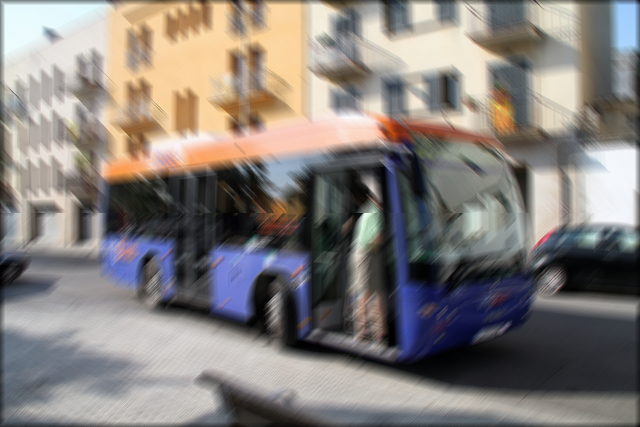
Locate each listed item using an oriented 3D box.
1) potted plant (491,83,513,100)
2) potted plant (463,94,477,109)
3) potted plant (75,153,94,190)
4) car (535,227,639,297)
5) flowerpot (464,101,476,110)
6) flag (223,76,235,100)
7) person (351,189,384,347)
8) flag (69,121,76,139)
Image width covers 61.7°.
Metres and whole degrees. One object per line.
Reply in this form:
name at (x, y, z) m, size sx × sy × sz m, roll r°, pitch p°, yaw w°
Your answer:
potted plant at (7.311, -4.784, 21.391) m, size 0.587 × 0.481 × 0.623 m, roll 4°, pitch -5°, yaw -25°
potted plant at (6.250, -4.639, 22.162) m, size 0.425 × 0.621 × 0.544 m, roll 0°, pitch -3°, yaw 20°
potted plant at (-17.298, -3.118, 39.557) m, size 0.926 × 2.858 × 2.059 m, roll 0°, pitch -2°, yaw -30°
car at (8.477, 1.448, 16.982) m, size 2.922 × 1.586 × 1.706 m, roll -3°, pitch -5°, yaw 34°
flowerpot at (6.275, -4.565, 22.180) m, size 0.351 × 0.377 × 0.608 m, roll -1°, pitch -2°, yaw -1°
flag at (-5.050, -7.013, 29.833) m, size 0.431 × 1.429 × 1.131 m, roll 0°, pitch -2°, yaw -36°
person at (0.974, 1.146, 10.706) m, size 0.722 × 2.979 × 0.479 m, roll -2°, pitch -2°, yaw 21°
flag at (-18.277, -6.272, 39.836) m, size 0.258 × 1.287 × 0.831 m, roll 0°, pitch -2°, yaw -39°
